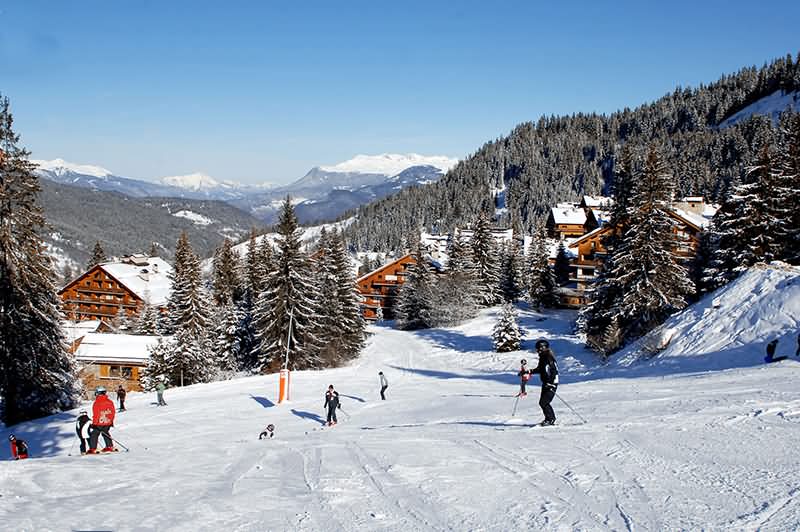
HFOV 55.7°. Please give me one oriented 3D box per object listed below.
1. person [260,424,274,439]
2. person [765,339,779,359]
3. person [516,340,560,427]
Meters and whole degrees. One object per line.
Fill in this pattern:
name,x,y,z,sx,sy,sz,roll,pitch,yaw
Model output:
person,-7.593,9.568,43.690,0.367,0.506,1.268,-2,9,28
person,22.453,5.035,45.637,0.591,1.194,1.280,0,4,27
person,7.660,5.985,39.434,1.034,4.398,1.584,-2,4,8
